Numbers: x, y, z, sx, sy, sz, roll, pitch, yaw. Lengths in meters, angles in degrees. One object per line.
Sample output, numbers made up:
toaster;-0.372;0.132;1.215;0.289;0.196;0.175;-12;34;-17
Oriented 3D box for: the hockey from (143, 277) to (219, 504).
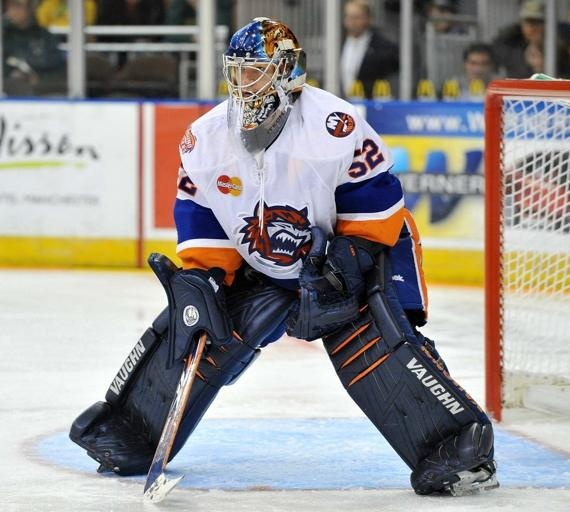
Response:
hockey;-0.284;0.416;3.834;0.146;0.093;0.871;15;44;4
